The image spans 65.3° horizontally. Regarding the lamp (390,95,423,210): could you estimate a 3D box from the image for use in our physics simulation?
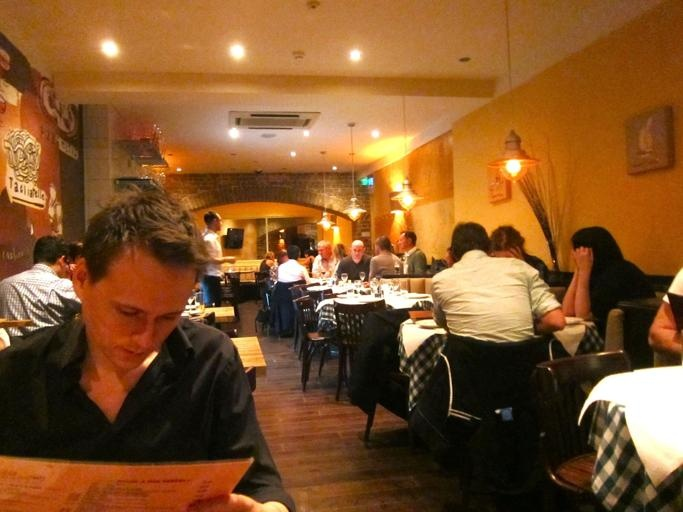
[{"bbox_3d":[1.002,-1.538,8.257,0.373,1.656,0.377,-7,17,-7],"label":"lamp"}]

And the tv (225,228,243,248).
[{"bbox_3d":[-3.686,-0.628,18.177,0.309,0.628,0.612,1,-6,44],"label":"tv"}]

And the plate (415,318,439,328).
[{"bbox_3d":[0.597,0.478,3.771,0.136,0.035,0.272,-1,3,4],"label":"plate"}]
